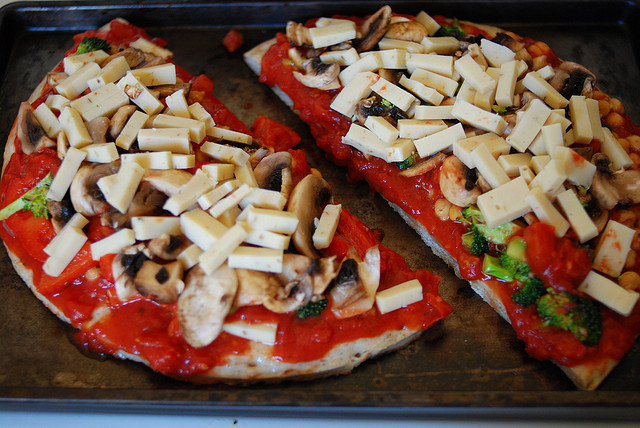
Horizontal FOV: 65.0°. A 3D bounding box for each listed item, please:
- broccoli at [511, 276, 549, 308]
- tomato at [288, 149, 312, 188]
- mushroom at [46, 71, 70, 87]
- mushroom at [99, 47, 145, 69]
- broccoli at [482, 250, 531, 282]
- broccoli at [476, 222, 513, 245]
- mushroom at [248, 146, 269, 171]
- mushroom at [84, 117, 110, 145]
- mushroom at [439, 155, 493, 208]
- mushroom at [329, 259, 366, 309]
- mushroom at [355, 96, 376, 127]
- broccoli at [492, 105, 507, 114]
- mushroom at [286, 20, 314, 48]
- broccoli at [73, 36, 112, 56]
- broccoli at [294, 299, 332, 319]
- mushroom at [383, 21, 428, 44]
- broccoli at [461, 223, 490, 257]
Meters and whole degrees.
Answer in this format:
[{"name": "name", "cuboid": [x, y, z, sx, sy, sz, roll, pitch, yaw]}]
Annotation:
[{"name": "broccoli", "cuboid": [1.894, 0.696, 4.501, 0.287, 0.077, 0.208, -45, 73, 20]}, {"name": "tomato", "cuboid": [-0.237, -0.461, 5.077, 0.276, 0.120, 0.361, 2, 72, -43]}, {"name": "mushroom", "cuboid": [-2.841, -1.466, 5.471, 0.211, 0.066, 0.273, 2, 66, 0]}, {"name": "mushroom", "cuboid": [-2.102, -1.676, 5.360, 0.382, 0.221, 0.132, -28, 104, -14]}, {"name": "broccoli", "cuboid": [1.713, 0.475, 4.574, 0.304, 0.091, 0.300, -44, 74, 10]}, {"name": "broccoli", "cuboid": [1.631, 0.181, 4.620, 0.213, 0.061, 0.212, 4, 101, 28]}, {"name": "mushroom", "cuboid": [-0.602, -0.546, 5.026, 0.119, 0.063, 0.240, 32, 76, 21]}, {"name": "mushroom", "cuboid": [-2.114, -0.802, 4.788, 0.230, 0.067, 0.243, -15, 83, 6]}, {"name": "mushroom", "cuboid": [1.335, -0.284, 4.699, 0.223, 0.422, 0.433, -38, 59, 7]}, {"name": "mushroom", "cuboid": [0.237, 0.628, 4.524, 0.309, 0.283, 0.304, -14, 58, -14]}, {"name": "mushroom", "cuboid": [0.468, -1.047, 5.149, 0.078, 0.213, 0.291, 3, 81, -15]}, {"name": "broccoli", "cuboid": [1.779, -1.032, 4.976, 0.077, 0.035, 0.105, -40, 66, -2]}, {"name": "mushroom", "cuboid": [-0.235, -2.023, 5.735, 0.216, 0.080, 0.343, -19, 69, -9]}, {"name": "broccoli", "cuboid": [-2.531, -1.882, 5.588, 0.289, 0.168, 0.241, -23, 25, -11]}, {"name": "broccoli", "cuboid": [-0.073, 0.858, 4.502, 0.256, 0.057, 0.177, -23, 63, -10]}, {"name": "mushroom", "cuboid": [0.977, -2.012, 5.608, 0.405, 0.105, 0.258, 1, 66, 2]}, {"name": "broccoli", "cuboid": [1.450, 0.260, 4.704, 0.131, 0.231, 0.299, -14, 68, -43]}]
